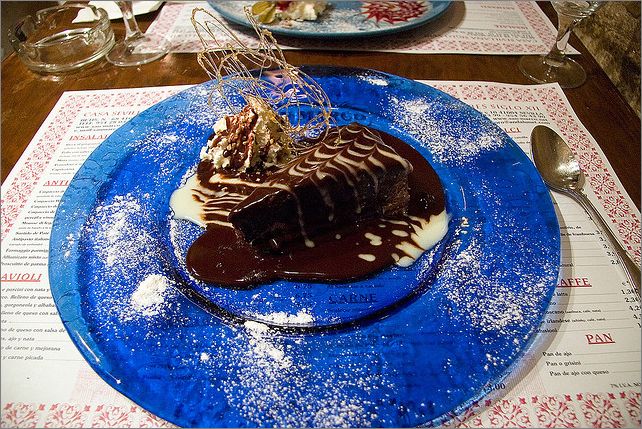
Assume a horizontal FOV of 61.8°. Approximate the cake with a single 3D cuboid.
[{"bbox_3d":[-0.003,-0.040,1.845,0.538,0.184,0.343,-23,50,-7],"label":"cake"}]
